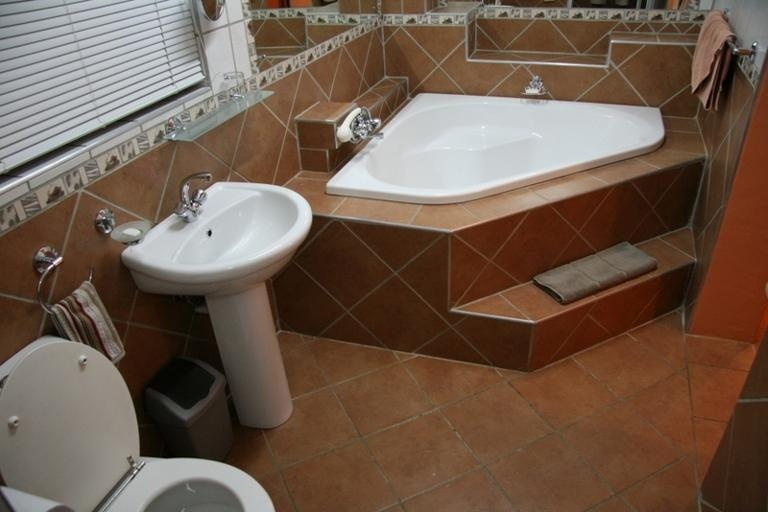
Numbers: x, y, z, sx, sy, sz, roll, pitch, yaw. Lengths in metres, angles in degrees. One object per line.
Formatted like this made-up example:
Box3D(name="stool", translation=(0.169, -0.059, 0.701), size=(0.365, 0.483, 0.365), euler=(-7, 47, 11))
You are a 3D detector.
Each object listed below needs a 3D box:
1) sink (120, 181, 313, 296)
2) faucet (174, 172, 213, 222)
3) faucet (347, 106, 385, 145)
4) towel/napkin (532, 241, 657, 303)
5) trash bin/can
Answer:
Box3D(name="sink", translation=(-0.648, -0.065, 2.328), size=(0.593, 0.208, 0.712), euler=(18, 51, 22))
Box3D(name="faucet", translation=(-0.835, -0.250, 2.360), size=(0.119, 0.170, 0.135), euler=(11, 42, 6))
Box3D(name="faucet", translation=(-0.118, -0.762, 3.204), size=(0.203, 0.110, 0.290), euler=(10, 50, 3))
Box3D(name="towel/napkin", translation=(1.156, 0.071, 2.931), size=(0.634, 0.073, 0.295), euler=(-21, 42, -19))
Box3D(name="trash bin/can", translation=(-0.869, 0.669, 2.379), size=(0.300, 0.485, 0.306), euler=(8, 27, 15))
